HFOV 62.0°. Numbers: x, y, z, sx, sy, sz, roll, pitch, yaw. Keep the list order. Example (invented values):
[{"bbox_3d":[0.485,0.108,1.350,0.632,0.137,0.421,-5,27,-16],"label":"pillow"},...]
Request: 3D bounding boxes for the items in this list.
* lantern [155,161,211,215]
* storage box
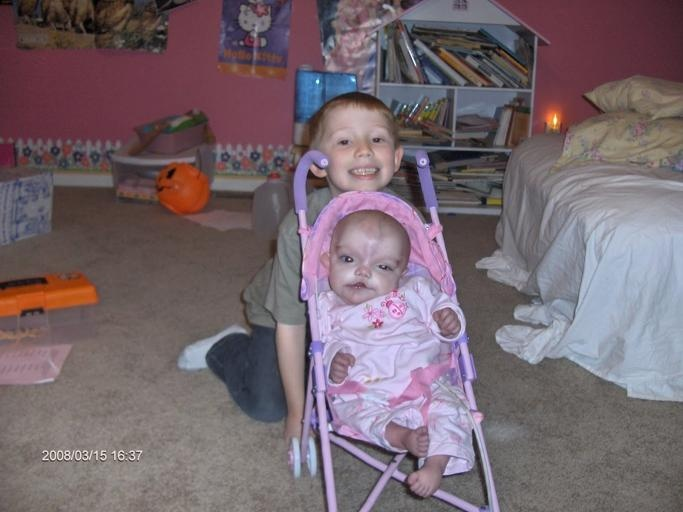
[{"bbox_3d":[-1.227,-0.519,4.492,0.378,0.386,0.234,3,-1,7],"label":"lantern"},{"bbox_3d":[-1.578,-0.645,4.645,0.480,0.254,0.492,-9,23,-23],"label":"storage box"}]
